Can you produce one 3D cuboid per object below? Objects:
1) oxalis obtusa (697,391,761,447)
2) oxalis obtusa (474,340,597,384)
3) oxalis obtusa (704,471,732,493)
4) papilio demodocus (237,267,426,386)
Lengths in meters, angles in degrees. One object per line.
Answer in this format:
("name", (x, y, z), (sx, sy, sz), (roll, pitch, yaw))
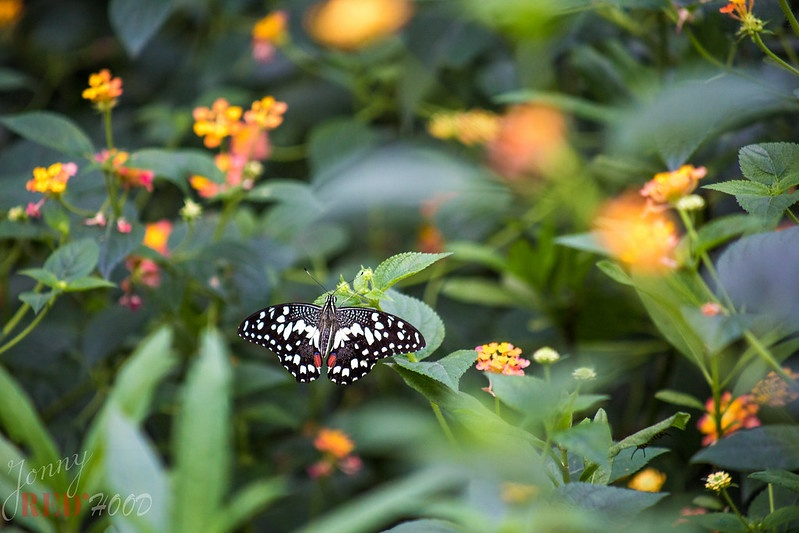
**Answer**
("oxalis obtusa", (0.708, 0.326, 1.899), (0.139, 0.057, 0.142), (-17, -3, 32))
("oxalis obtusa", (0.264, 0.171, 1.721), (0.197, 0.075, 0.099), (9, 16, -3))
("oxalis obtusa", (0.635, 0.439, 1.739), (0.052, 0.021, 0.053), (15, 34, 40))
("papilio demodocus", (-0.153, 0.128, 1.761), (0.367, 0.195, 0.039), (3, 12, 23))
